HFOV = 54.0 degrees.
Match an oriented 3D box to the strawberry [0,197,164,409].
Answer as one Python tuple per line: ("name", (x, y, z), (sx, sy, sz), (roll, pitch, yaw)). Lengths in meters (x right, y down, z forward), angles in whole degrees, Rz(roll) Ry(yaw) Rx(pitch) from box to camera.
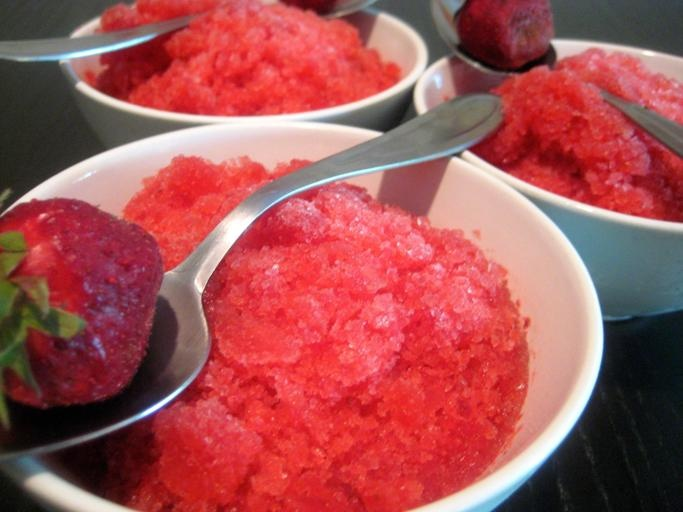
("strawberry", (-0.276, 0.045, 0.696), (0.139, 0.097, 0.197), (-6, 71, 2))

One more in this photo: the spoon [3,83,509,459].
("spoon", (-0.058, 0.031, 0.962), (0.796, 0.144, 0.253), (-39, 57, -25))
